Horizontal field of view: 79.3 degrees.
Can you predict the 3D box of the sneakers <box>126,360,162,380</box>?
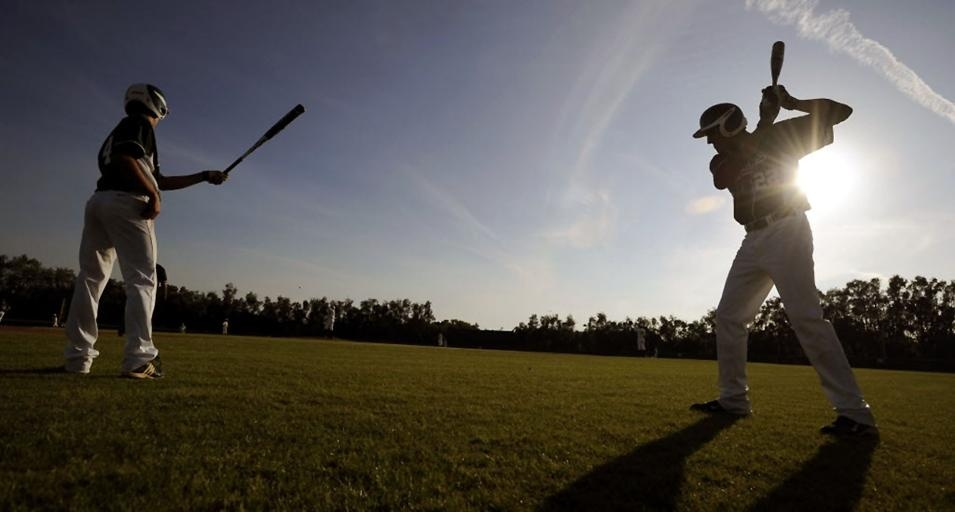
[{"bbox_3d":[-4.587,1.607,8.060,0.186,0.188,0.423,6,-10,8],"label":"sneakers"}]
